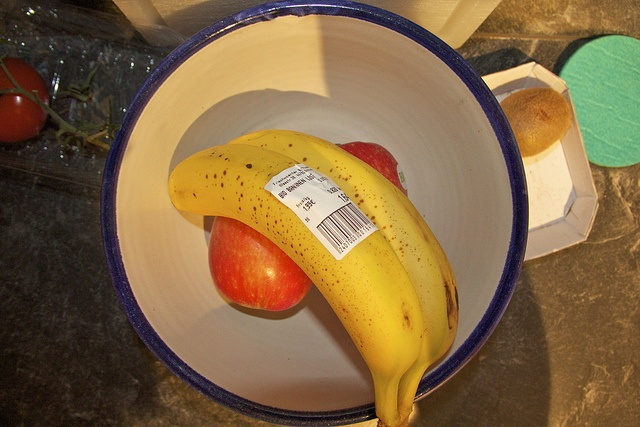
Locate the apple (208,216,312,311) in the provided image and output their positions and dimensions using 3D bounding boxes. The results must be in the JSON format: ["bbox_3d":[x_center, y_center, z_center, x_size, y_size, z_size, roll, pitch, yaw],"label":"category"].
[{"bbox_3d":[-0.118,0.094,1.115,0.178,0.136,0.108,36,85,17],"label":"apple"}]
